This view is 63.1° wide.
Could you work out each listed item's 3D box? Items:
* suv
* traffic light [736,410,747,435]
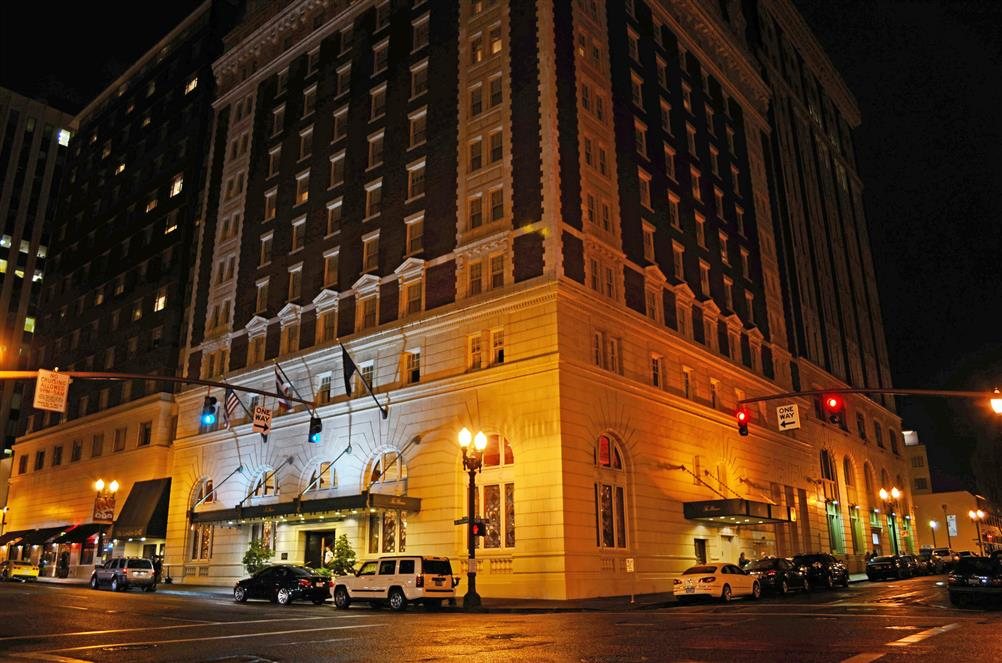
[{"bbox_3d":[-5.861,14.447,46.751,6.148,2.379,3.547,-7,-23,30],"label":"suv"},{"bbox_3d":[14.909,5.674,50.034,0.412,1.408,1.033,-5,-23,9],"label":"traffic light"}]
